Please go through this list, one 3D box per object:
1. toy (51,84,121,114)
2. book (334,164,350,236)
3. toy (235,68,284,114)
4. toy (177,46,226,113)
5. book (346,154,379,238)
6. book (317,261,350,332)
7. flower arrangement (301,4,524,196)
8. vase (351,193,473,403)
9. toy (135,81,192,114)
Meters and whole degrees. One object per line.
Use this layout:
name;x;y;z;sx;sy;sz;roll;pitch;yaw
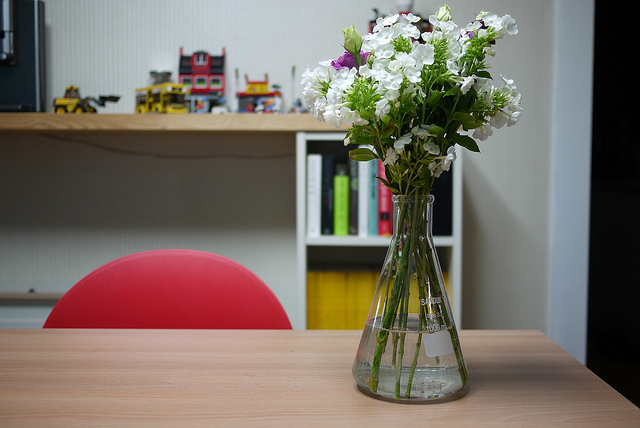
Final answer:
toy;-0.967;-0.456;3.531;0.251;0.133;0.134;-2;14;-10
book;0.088;-0.042;3.378;0.076;0.258;0.255;0;0;1
toy;-0.248;-0.490;3.516;0.193;0.155;0.177;2;9;-4
toy;-0.494;-0.539;3.607;0.177;0.315;0.159;-1;-16;-6
book;0.176;-0.054;3.525;0.220;0.344;0.323;0;-3;1
book;0.071;0.337;3.461;0.152;0.263;0.160;4;-9;-25
flower arrangement;0.301;-0.324;2.748;0.564;0.630;0.561;-23;0;-5
vase;0.283;0.240;2.547;0.359;0.590;0.196;2;8;3
toy;-0.662;-0.456;3.499;0.101;0.133;0.263;-3;4;-43
